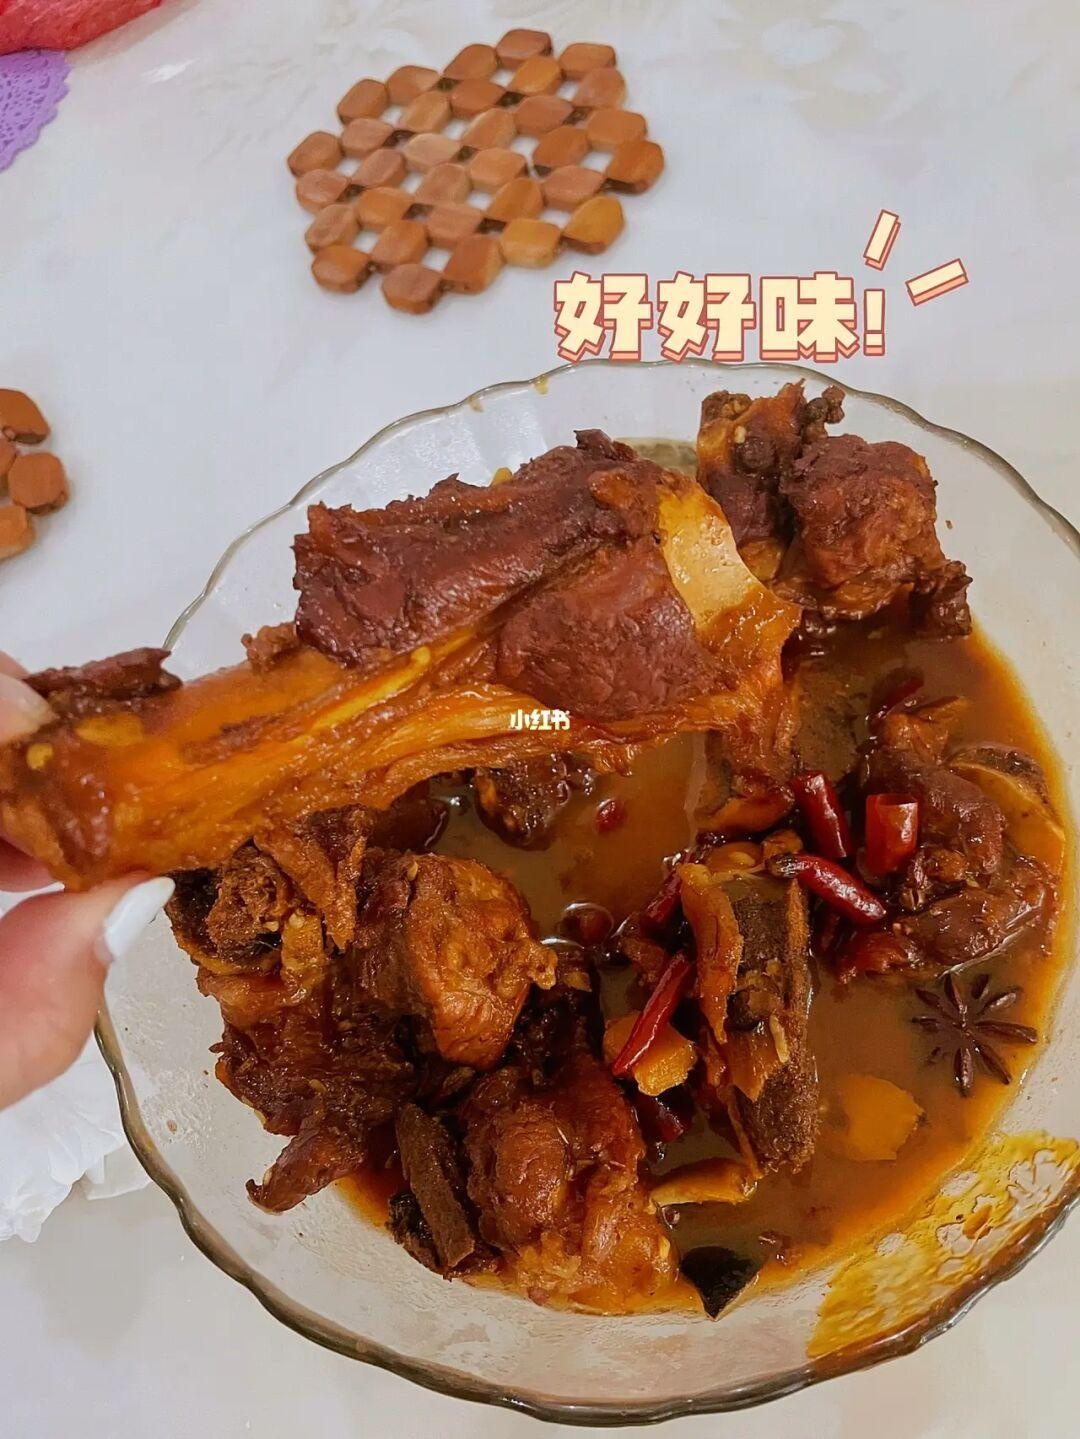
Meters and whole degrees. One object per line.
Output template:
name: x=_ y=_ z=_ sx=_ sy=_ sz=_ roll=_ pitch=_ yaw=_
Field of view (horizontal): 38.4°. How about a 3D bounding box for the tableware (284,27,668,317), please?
tableware: x=-0.231 y=-1.610 z=4.436 sx=0.764 sy=0.117 sz=1.044 roll=-46 pitch=58 yaw=11
